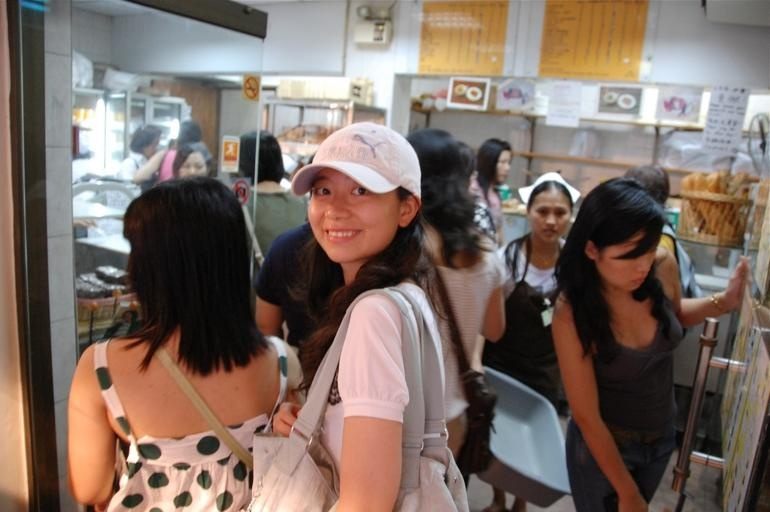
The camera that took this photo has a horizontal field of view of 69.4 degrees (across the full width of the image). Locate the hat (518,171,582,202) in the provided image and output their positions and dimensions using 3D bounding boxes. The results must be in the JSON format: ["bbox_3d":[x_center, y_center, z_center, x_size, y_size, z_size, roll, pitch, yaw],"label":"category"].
[{"bbox_3d":[1.028,-0.401,3.453,0.353,0.161,0.291,5,-1,1],"label":"hat"}]

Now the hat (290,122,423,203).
[{"bbox_3d":[-0.071,-0.287,1.644,0.294,0.213,0.411,7,1,28],"label":"hat"}]
